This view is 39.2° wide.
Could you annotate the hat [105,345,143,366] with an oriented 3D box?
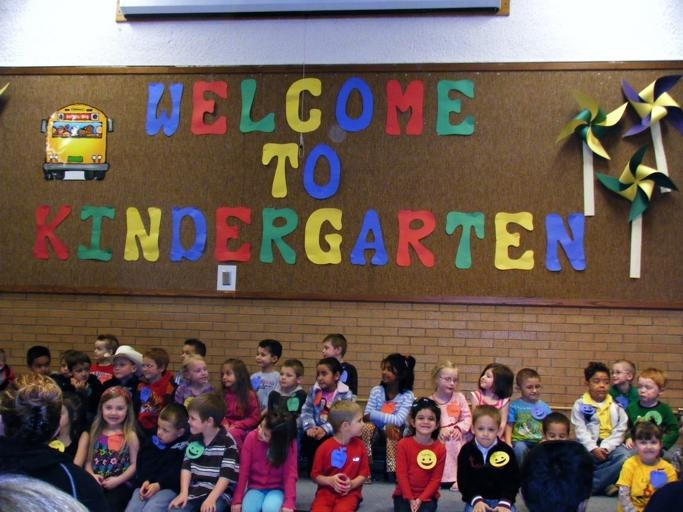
[{"bbox_3d":[-1.875,0.867,8.306,0.265,0.166,0.262,2,-3,-23],"label":"hat"}]
